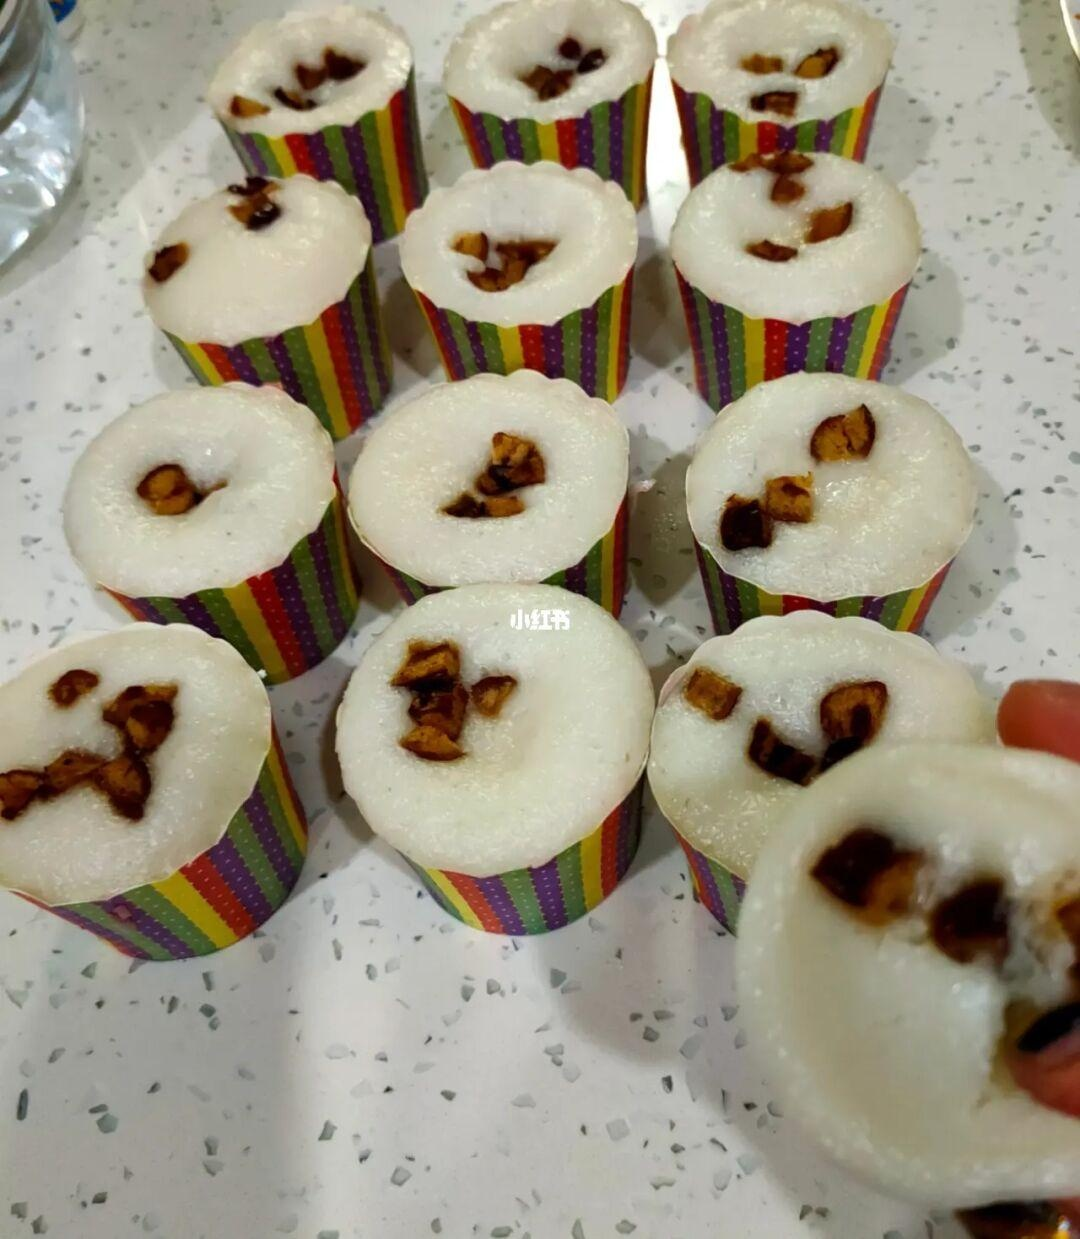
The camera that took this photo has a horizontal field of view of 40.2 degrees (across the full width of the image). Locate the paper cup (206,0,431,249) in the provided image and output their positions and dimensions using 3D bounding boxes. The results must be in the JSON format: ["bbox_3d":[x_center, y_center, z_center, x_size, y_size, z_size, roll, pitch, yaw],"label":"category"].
[{"bbox_3d":[-0.179,-0.517,1.555,0.302,0.208,0.215,0,76,2],"label":"paper cup"}]

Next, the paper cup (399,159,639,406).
[{"bbox_3d":[-0.002,-0.302,1.416,0.279,0.178,0.201,-2,63,2],"label":"paper cup"}]

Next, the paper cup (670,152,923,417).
[{"bbox_3d":[0.221,-0.307,1.373,0.281,0.235,0.213,6,68,8],"label":"paper cup"}]

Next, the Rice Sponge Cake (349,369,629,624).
[{"bbox_3d":[-0.036,-0.093,1.271,0.257,0.197,0.176,3,70,3],"label":"Rice Sponge Cake"}]

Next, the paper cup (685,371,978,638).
[{"bbox_3d":[0.223,-0.083,1.211,0.245,0.192,0.185,2,76,8],"label":"paper cup"}]
